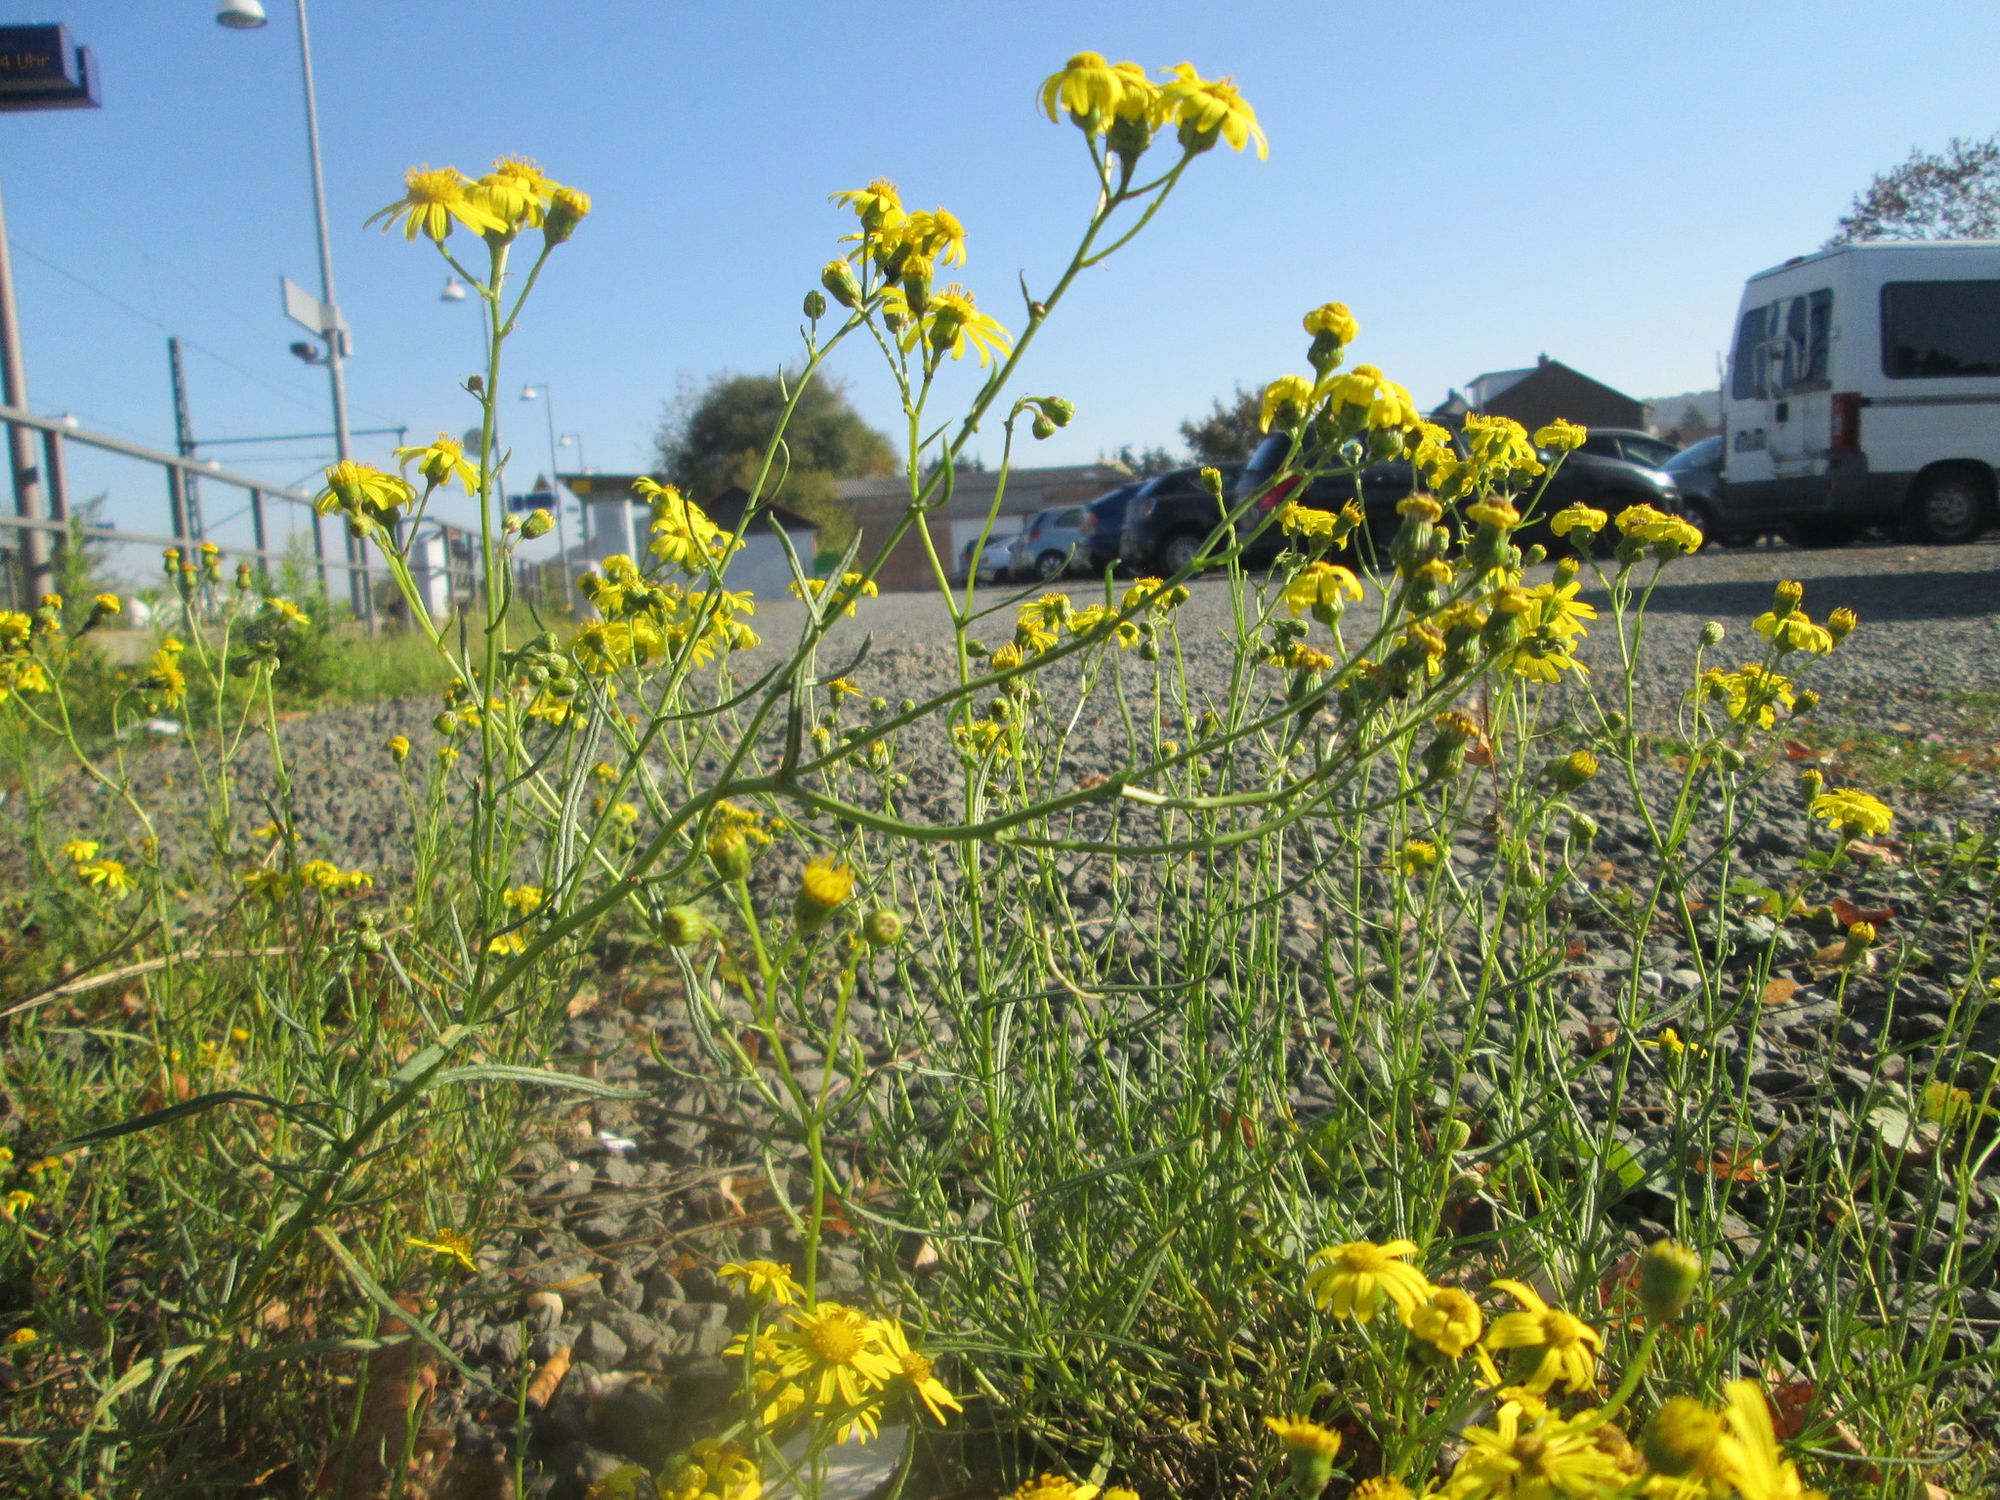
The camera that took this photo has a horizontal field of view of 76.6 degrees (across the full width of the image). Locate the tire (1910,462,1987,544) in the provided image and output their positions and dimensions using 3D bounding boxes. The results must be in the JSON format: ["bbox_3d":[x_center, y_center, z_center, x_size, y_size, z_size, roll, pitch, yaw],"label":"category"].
[{"bbox_3d":[8.610,-2.252,11.462,0.434,0.494,0.166,-24,5,4],"label":"tire"}]
